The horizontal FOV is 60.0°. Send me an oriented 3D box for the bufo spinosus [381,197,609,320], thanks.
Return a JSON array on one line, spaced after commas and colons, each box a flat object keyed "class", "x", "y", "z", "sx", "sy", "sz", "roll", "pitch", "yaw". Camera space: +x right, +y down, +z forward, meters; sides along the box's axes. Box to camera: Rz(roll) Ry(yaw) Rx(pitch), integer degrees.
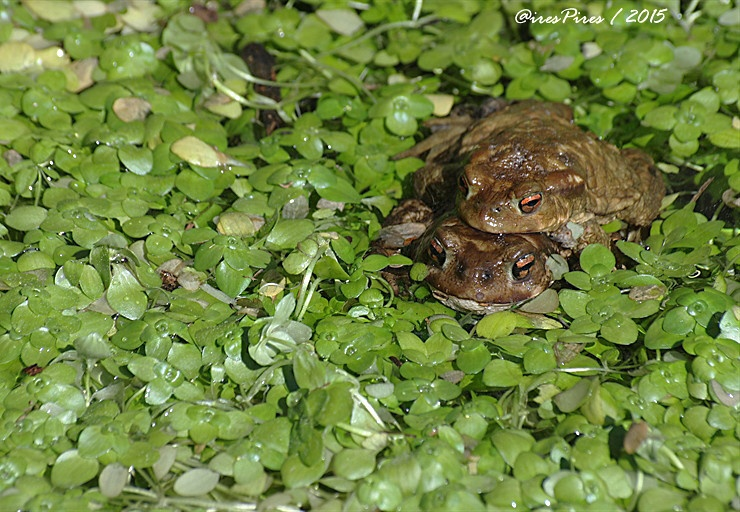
[{"class": "bufo spinosus", "x": 0.512, "y": 0.035, "z": 2.923, "sx": 0.757, "sy": 0.214, "sz": 0.638, "roll": 7, "pitch": 49, "yaw": 11}]
